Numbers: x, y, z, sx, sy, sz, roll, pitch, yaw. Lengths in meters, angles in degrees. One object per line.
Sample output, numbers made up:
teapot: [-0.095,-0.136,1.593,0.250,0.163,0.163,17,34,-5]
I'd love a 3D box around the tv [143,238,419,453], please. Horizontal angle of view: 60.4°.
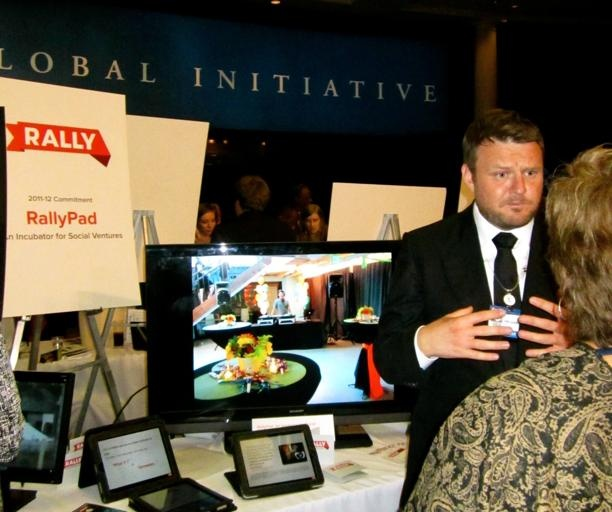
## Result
tv: [-0.061,0.303,2.055,1.155,0.825,0.305,-5,9,19]

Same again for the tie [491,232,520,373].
tie: [0.621,0.095,1.613,0.074,0.405,0.047,1,-37,23]

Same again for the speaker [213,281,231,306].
speaker: [-0.317,0.145,1.997,0.075,0.076,0.134,-2,23,-4]

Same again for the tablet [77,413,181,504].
tablet: [-0.592,0.676,1.759,0.208,0.219,0.282,-15,-12,42]

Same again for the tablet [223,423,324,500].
tablet: [-0.113,0.684,1.779,0.303,0.186,0.204,5,-9,-32]
